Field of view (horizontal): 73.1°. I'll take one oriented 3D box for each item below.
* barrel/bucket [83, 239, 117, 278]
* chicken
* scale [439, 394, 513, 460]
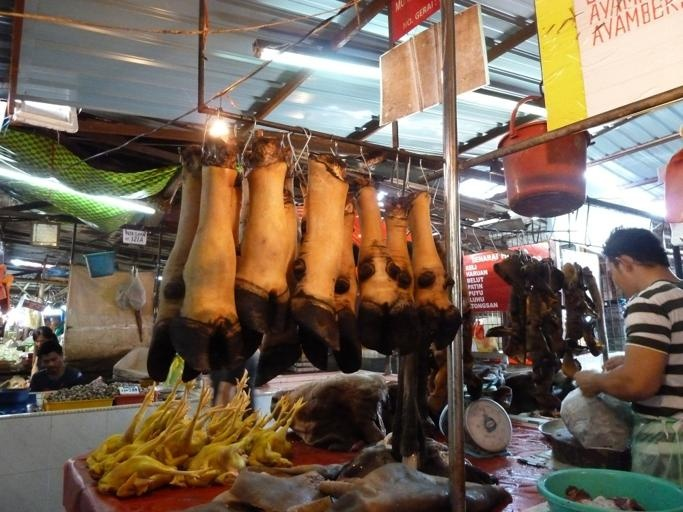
[{"bbox_3d":[-3.588,0.027,7.082,0.571,0.526,0.508,-9,-7,-45],"label":"barrel/bucket"},{"bbox_3d":[-0.746,1.038,2.663,1.062,0.340,0.818,14,-12,-38],"label":"chicken"},{"bbox_3d":[0.916,1.105,3.158,0.478,0.301,0.441,27,-33,-22],"label":"scale"}]
